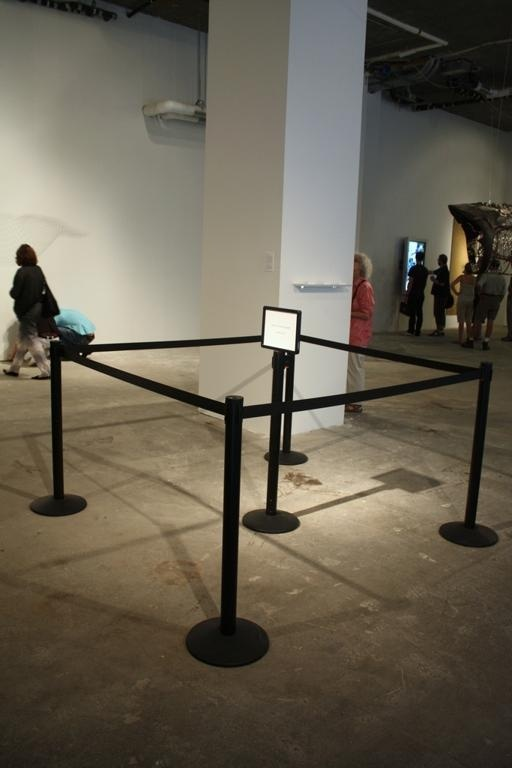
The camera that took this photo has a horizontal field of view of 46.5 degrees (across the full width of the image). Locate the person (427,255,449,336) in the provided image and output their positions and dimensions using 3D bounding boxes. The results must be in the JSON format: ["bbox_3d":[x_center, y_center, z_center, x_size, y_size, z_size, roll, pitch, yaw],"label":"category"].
[{"bbox_3d":[3.652,-1.754,11.785,0.407,1.579,1.758,5,9,17],"label":"person"}]

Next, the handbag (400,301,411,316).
[{"bbox_3d":[2.906,-1.503,11.623,0.108,0.345,0.240,-21,33,-30],"label":"handbag"}]

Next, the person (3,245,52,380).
[{"bbox_3d":[-2.473,-0.789,6.493,0.560,1.449,0.391,9,11,39],"label":"person"}]

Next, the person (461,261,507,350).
[{"bbox_3d":[4.045,-1.433,10.466,0.512,1.543,1.173,5,9,20],"label":"person"}]

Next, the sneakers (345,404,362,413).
[{"bbox_3d":[0.920,0.219,5.678,0.190,0.081,0.065,2,0,-40],"label":"sneakers"}]

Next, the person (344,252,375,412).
[{"bbox_3d":[0.955,-0.459,5.496,0.199,1.491,0.601,3,9,9],"label":"person"}]

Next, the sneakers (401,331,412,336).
[{"bbox_3d":[2.974,-1.023,11.877,0.082,0.118,0.264,0,-1,-4],"label":"sneakers"}]

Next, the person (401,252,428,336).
[{"bbox_3d":[3.085,-1.781,11.650,0.392,1.620,1.035,4,9,14],"label":"person"}]

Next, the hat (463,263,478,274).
[{"bbox_3d":[3.841,-2.075,10.671,0.236,0.070,0.263,-3,27,-12],"label":"hat"}]
